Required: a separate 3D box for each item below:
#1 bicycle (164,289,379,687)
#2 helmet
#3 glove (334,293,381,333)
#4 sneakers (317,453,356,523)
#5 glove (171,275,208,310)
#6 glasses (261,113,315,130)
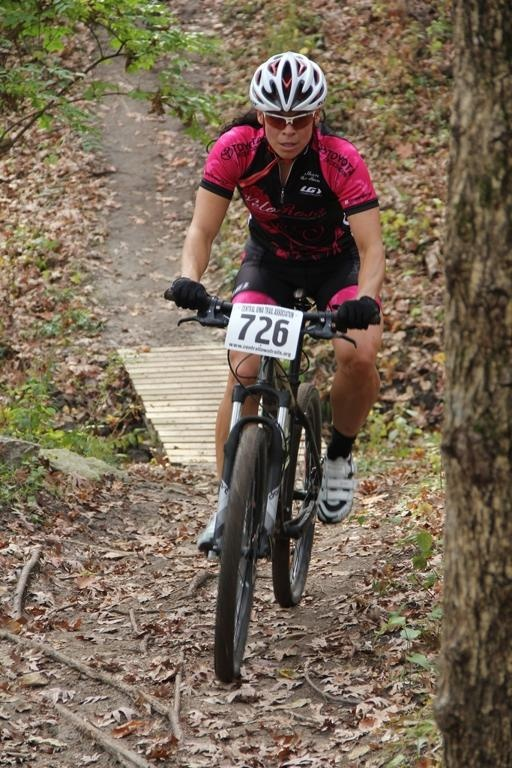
[{"bbox_3d":[0.089,0.381,3.546,0.618,1.581,1.396,1,7,16],"label":"bicycle"},{"bbox_3d":[0.127,-1.267,3.505,0.311,0.300,0.291,-1,7,2],"label":"helmet"},{"bbox_3d":[0.380,-0.268,3.175,0.149,0.064,0.141,-4,8,3],"label":"glove"},{"bbox_3d":[0.412,0.558,4.317,0.162,0.394,0.177,3,-6,7],"label":"sneakers"},{"bbox_3d":[-0.266,-0.351,3.266,0.148,0.131,0.213,-1,7,-5],"label":"glove"},{"bbox_3d":[0.135,-1.093,3.493,0.202,0.071,0.098,-1,7,-5],"label":"glasses"}]
